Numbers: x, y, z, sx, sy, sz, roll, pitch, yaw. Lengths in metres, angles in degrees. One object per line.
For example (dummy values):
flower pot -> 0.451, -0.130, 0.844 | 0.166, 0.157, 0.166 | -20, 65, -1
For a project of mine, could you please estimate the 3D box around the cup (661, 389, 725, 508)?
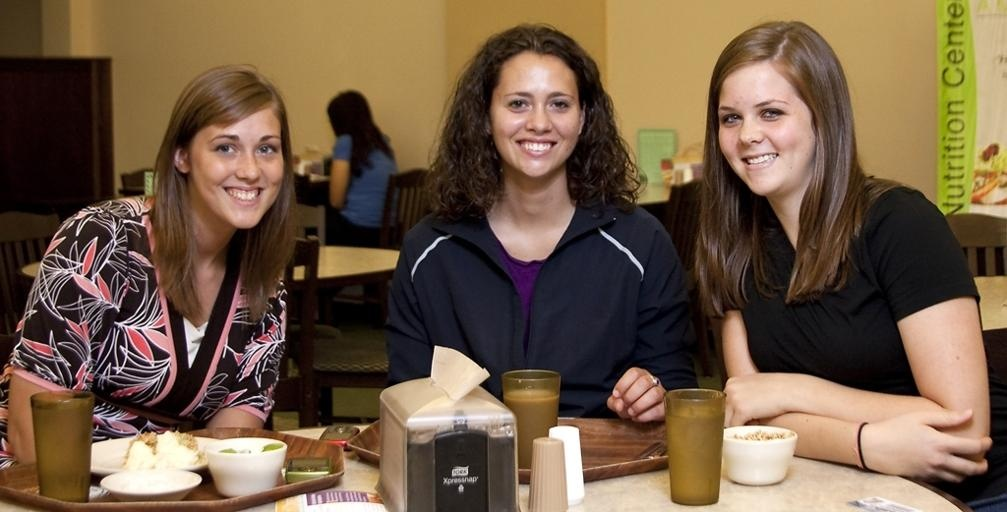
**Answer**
cup -> 0.576, 0.566, 2.198 | 0.171, 0.332, 0.113 | -3, 8, 5

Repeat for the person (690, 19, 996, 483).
person -> 1.164, -0.118, 2.598 | 0.942, 1.464, 0.427 | -2, 8, 13

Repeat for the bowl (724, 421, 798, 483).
bowl -> 0.788, 0.603, 2.260 | 0.194, 0.111, 0.192 | -3, 0, 0

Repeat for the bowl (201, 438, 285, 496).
bowl -> -0.782, 0.631, 2.220 | 0.185, 0.096, 0.179 | -3, 1, 0

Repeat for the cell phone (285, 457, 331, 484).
cell phone -> -0.604, 0.652, 2.247 | 0.105, 0.035, 0.077 | -3, 4, -6
